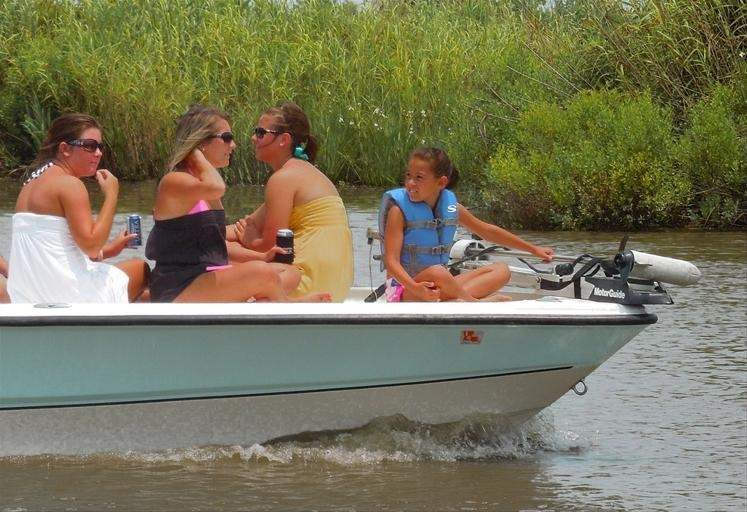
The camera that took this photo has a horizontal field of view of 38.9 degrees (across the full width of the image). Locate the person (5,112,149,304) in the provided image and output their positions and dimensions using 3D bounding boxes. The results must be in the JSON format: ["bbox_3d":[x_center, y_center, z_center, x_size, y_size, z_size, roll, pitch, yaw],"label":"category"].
[{"bbox_3d":[-2.061,-0.294,7.129,0.790,1.218,0.588,-1,21,-14],"label":"person"}]

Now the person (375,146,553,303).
[{"bbox_3d":[0.727,-0.210,7.880,1.292,1.159,0.866,-3,9,-7],"label":"person"}]
